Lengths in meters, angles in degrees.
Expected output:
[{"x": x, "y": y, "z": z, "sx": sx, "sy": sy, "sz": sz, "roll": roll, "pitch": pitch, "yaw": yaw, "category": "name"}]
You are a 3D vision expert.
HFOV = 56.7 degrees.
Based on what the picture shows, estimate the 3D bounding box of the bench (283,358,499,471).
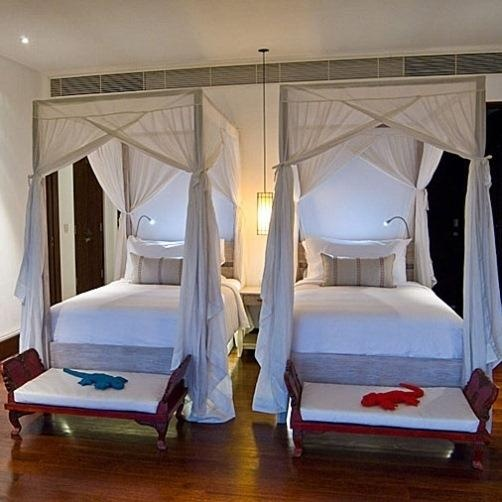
[{"x": 0.803, "y": 0.921, "z": 2.832, "sx": 0.978, "sy": 0.575, "sz": 0.637, "roll": -1, "pitch": 8, "yaw": 7, "category": "bench"}]

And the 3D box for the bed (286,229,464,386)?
[{"x": 0.924, "y": 0.431, "z": 3.696, "sx": 0.860, "sy": 0.956, "sz": 1.555, "roll": 0, "pitch": -1, "yaw": 9, "category": "bed"}]

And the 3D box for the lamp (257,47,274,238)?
[{"x": 0.142, "y": -1.083, "z": 4.870, "sx": 0.157, "sy": 1.874, "sz": 0.326, "roll": 0, "pitch": 6, "yaw": 1, "category": "lamp"}]

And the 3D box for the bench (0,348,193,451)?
[{"x": -1.044, "y": 0.821, "z": 3.116, "sx": 0.976, "sy": 0.615, "sz": 0.617, "roll": 1, "pitch": 3, "yaw": 6, "category": "bench"}]
